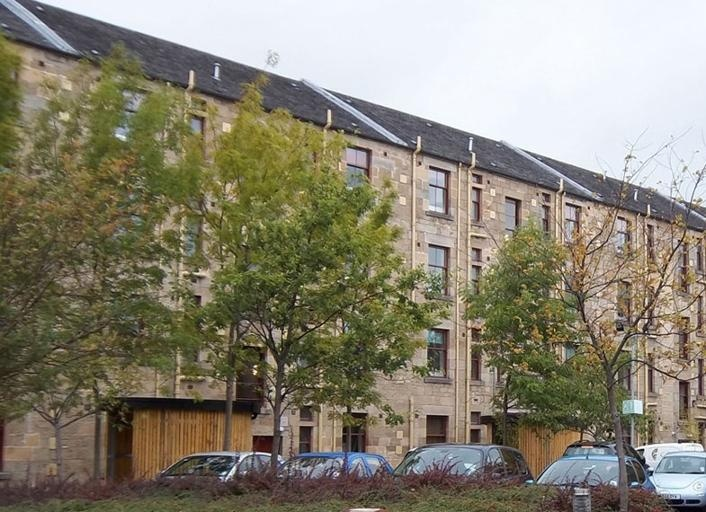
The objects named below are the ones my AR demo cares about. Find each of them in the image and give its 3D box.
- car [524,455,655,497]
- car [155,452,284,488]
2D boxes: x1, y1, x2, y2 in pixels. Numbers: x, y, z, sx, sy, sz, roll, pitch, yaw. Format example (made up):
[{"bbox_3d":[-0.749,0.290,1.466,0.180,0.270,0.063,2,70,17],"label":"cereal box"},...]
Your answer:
[{"bbox_3d":[6.705,5.670,29.870,2.291,0.968,1.324,13,-11,-35],"label":"car"},{"bbox_3d":[-3.462,5.273,29.987,1.175,0.646,2.071,-9,-23,34],"label":"car"}]
